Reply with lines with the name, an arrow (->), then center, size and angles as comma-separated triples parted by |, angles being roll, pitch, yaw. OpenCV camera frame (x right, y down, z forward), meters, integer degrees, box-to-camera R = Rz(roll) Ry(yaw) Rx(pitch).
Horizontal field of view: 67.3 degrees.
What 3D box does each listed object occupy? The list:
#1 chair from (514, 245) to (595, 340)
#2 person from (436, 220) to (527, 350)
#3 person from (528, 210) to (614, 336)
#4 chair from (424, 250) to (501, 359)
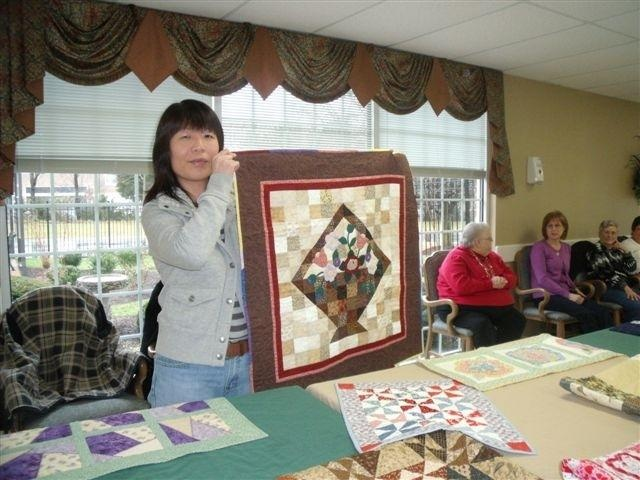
chair -> 2.421, 0.609, 4.986 | 0.619, 1.031, 0.652 | -4, 1, -28
person -> 1.459, 0.516, 4.404 | 0.763, 1.272, 0.687 | -3, 8, -34
person -> 2.449, 0.302, 4.795 | 0.606, 1.042, 0.861 | -5, 16, -19
chair -> 1.369, 0.671, 4.393 | 0.815, 1.102, 0.800 | -2, 5, 19
